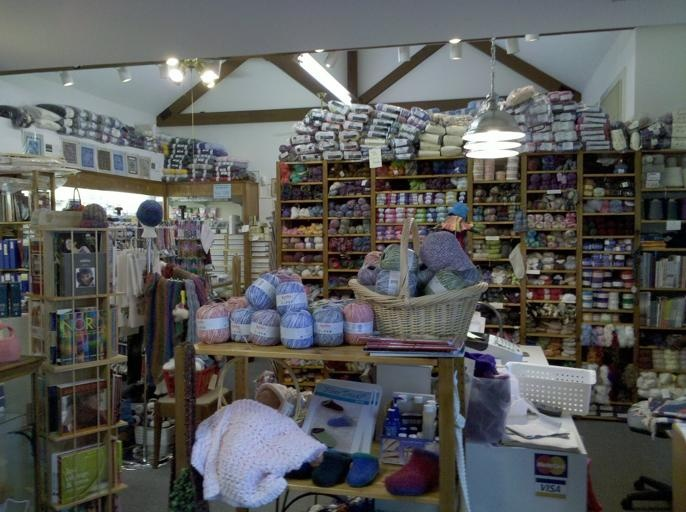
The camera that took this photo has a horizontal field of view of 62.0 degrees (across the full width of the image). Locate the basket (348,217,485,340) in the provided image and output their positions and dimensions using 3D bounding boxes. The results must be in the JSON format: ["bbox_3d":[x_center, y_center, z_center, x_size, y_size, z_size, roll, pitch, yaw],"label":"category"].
[{"bbox_3d":[0.460,0.125,3.203,0.723,0.590,0.572,1,1,15],"label":"basket"}]

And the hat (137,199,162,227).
[{"bbox_3d":[-1.890,-0.425,5.571,0.257,0.292,0.255,2,7,6],"label":"hat"}]

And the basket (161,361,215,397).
[{"bbox_3d":[-1.296,1.033,4.679,0.347,0.152,0.253,0,-6,-5],"label":"basket"}]

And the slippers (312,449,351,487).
[{"bbox_3d":[-0.062,1.101,2.990,0.154,0.117,0.331,-1,0,26],"label":"slippers"}]

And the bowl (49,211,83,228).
[{"bbox_3d":[-1.887,-0.249,3.892,0.191,0.117,0.148,-2,3,-34],"label":"bowl"}]

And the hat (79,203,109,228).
[{"bbox_3d":[-1.743,-0.279,3.969,0.169,0.169,0.167,-2,3,-30],"label":"hat"}]

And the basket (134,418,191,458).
[{"bbox_3d":[-1.736,1.643,5.171,0.451,0.343,0.167,1,3,34],"label":"basket"}]

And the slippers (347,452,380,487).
[{"bbox_3d":[0.100,1.092,2.980,0.168,0.098,0.273,2,12,17],"label":"slippers"}]

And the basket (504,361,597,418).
[{"bbox_3d":[1.427,0.873,3.860,0.510,0.228,0.326,2,-3,25],"label":"basket"}]

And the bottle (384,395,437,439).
[{"bbox_3d":[0.392,0.887,3.294,0.291,0.281,0.215,0,-8,11],"label":"bottle"}]
